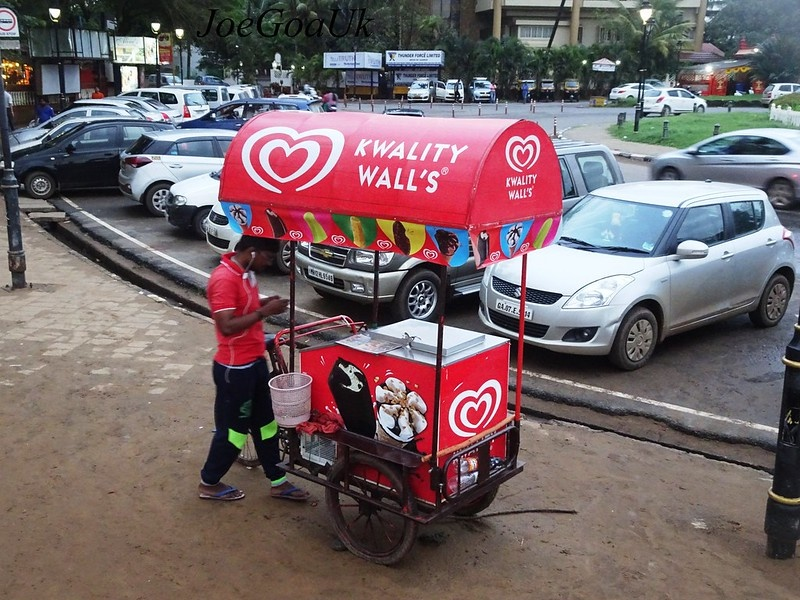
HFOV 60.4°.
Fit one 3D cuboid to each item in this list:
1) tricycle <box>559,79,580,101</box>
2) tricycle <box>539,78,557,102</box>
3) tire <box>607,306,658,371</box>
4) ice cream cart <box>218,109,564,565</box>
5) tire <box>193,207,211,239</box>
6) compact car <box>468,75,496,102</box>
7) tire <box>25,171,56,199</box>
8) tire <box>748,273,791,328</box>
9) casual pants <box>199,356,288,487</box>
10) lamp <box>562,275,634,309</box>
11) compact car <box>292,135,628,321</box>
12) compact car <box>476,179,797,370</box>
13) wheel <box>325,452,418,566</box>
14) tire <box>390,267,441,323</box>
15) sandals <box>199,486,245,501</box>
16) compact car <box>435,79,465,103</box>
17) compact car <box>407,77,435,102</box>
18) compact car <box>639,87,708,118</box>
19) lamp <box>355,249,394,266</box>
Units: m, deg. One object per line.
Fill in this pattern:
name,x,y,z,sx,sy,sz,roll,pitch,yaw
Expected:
tricycle,15.517,-18.660,62.059,1.455,1.788,2.289,3,18,10
tricycle,13.472,-18.792,62.568,1.235,1.395,2.164,2,19,9
tire,2.811,0.460,8.251,0.721,0.739,0.212,-6,16,-33
ice cream cart,-0.157,0.274,5.257,2.160,3.201,1.314,10,20,29
tire,-4.019,-1.520,13.971,0.395,0.681,0.331,-6,19,-18
compact car,6.988,-17.244,57.560,1.921,1.754,2.509,-5,19,-15
tire,-9.020,-2.855,17.228,0.618,0.639,0.220,-2,11,-16
tire,5.128,0.004,9.558,0.616,0.633,0.197,-14,21,-32
casual pants,-1.285,0.971,5.643,0.632,1.060,0.462,-2,8,-18
lamp,2.305,-0.068,7.948,0.604,0.206,0.387,-19,27,-24
compact car,1.735,-1.174,11.174,4.208,1.830,1.810,-18,11,-31
compact car,3.149,-0.437,8.979,3.729,1.733,2.218,-9,13,-34
wheel,-0.239,1.570,5.169,0.844,0.157,0.839,34,36,-29
tire,0.358,0.029,9.484,0.705,0.730,0.254,-4,-10,36
sandals,-1.480,1.598,5.689,0.301,0.123,0.148,-1,10,-12
compact car,4.268,-17.470,58.330,2.086,1.664,5.694,-1,18,-4
compact car,1.822,-17.204,57.338,1.826,1.699,2.921,3,18,9
compact car,16.949,-12.072,42.634,3.662,1.523,1.626,-4,18,-11
lamp,-0.372,-0.537,9.169,0.448,0.168,0.308,0,6,19
